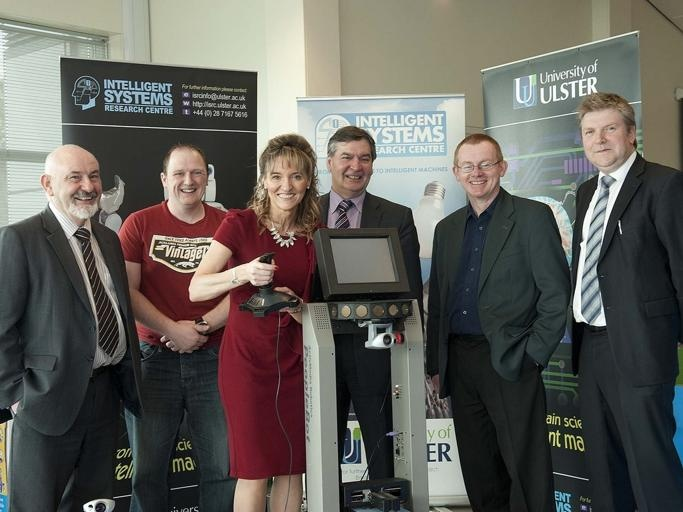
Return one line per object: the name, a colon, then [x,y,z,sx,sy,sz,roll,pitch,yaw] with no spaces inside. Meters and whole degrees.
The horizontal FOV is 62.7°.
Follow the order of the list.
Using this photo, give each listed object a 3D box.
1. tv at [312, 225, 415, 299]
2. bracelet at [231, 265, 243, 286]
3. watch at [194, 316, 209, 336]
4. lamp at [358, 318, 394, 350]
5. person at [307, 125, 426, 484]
tv: [0.090,0.039,2.676,0.372,0.299,0.156,1,-31,-19]
bracelet: [-0.469,0.086,2.549,0.025,0.076,0.057,-9,-6,-1]
watch: [-0.812,0.408,3.323,0.065,0.101,0.089,-22,16,-20]
lamp: [0.160,0.360,2.618,0.123,0.107,0.141,3,-6,-39]
person: [0.054,0.484,3.419,0.761,2.430,0.695,5,20,9]
